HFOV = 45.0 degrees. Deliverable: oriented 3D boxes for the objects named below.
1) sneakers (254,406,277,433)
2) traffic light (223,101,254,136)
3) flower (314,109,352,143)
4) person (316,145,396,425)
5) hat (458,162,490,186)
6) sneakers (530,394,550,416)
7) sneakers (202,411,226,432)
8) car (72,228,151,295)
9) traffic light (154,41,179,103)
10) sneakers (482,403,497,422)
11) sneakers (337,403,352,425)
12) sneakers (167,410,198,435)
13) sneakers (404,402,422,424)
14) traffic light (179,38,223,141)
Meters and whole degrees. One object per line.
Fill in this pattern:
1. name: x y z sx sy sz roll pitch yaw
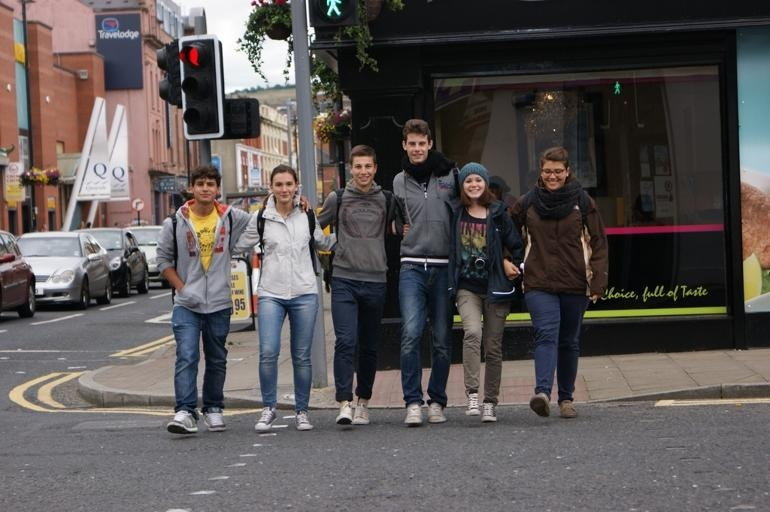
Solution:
1. sneakers: -1.225 1.663 9.569 0.127 0.162 0.381 0 1 7
2. traffic light: -1.775 -1.727 11.597 0.447 0.428 0.108 1 6 -2
3. flower: -1.016 -2.670 18.928 0.777 0.412 0.937 -1 -1 -8
4. person: -0.294 0.299 9.556 0.783 2.151 0.373 0 0 -5
5. hat: 0.891 -0.859 9.507 0.283 0.182 0.256 0 0 -4
6. sneakers: 1.544 1.482 9.344 0.129 0.140 0.289 0 -41 13
7. sneakers: -1.769 1.702 9.639 0.116 0.131 0.327 -2 -2 -19
8. car: -7.951 0.142 27.333 1.268 1.187 2.759 -1 -3 1
9. traffic light: -2.777 -2.361 11.931 0.300 0.927 0.924 0 0 -14
10. sneakers: 1.058 1.596 9.524 0.132 0.173 0.396 -1 -7 7
11. sneakers: -0.419 1.601 9.466 0.169 0.181 0.218 0 0 -4
12. sneakers: -2.049 1.675 9.394 0.300 0.261 0.294 0 0 -13
13. sneakers: 0.287 1.605 9.491 0.176 0.181 0.253 0 0 2
14. traffic light: -2.241 -2.082 11.355 0.543 0.869 0.403 0 0 -11
